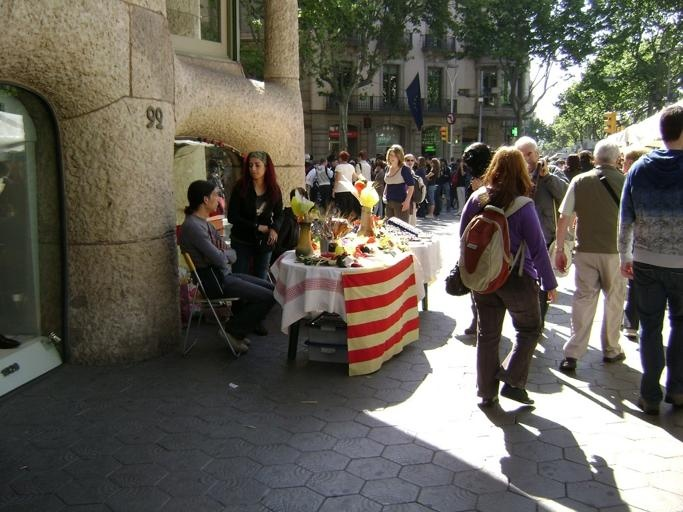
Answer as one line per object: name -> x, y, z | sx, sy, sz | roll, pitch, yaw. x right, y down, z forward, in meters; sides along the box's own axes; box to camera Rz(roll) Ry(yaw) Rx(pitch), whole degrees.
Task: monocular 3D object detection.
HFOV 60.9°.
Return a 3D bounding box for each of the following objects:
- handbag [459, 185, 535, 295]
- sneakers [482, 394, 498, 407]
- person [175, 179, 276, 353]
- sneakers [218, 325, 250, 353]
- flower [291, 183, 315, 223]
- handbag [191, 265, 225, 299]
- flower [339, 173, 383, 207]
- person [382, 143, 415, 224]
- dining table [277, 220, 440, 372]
handbag -> 1.282, -0.094, 4.920 | 0.549, 0.904, 0.379 | 4, 13, 18
sneakers -> 1.383, 1.332, 5.378 | 0.079, 0.160, 0.158 | -2, -8, 23
person -> -1.315, 0.116, 6.673 | 1.052, 1.945, 0.622 | 0, 13, -1
sneakers -> -1.147, 0.964, 6.665 | 0.479, 0.218, 0.167 | 15, 16, 4
flower -> -0.451, -0.607, 6.779 | 0.275, 0.367, 0.328 | -3, 13, -12
handbag -> -1.510, 0.299, 6.594 | 0.143, 0.353, 0.270 | -28, -17, -17
flower -> 0.231, -0.818, 7.536 | 0.436, 0.426, 1.089 | 0, 14, 1
person -> 1.067, -1.313, 10.741 | 0.548, 1.464, 1.043 | 1, 13, 4
dining table -> 0.215, 0.385, 7.408 | 1.682, 1.354, 3.357 | 5, 15, 21
